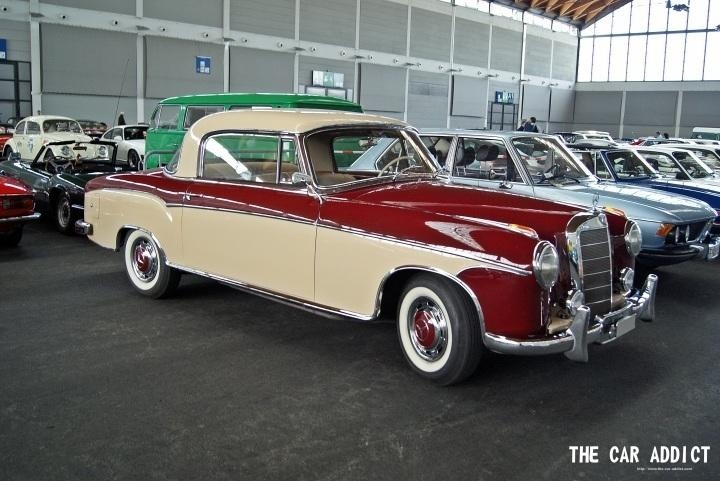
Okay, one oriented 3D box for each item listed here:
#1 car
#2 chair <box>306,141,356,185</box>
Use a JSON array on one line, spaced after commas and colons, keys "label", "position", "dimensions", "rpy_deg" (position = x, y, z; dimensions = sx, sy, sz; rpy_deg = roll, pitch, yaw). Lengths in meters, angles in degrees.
[{"label": "car", "position": [-0.334, -0.361, 4.881], "dimensions": [6.442, 2.045, 2.534], "rpy_deg": [6, 10, 30]}, {"label": "chair", "position": [-0.297, -0.866, 4.315], "dimensions": [0.409, 0.459, 0.433], "rpy_deg": [-4, 16, 13]}]
